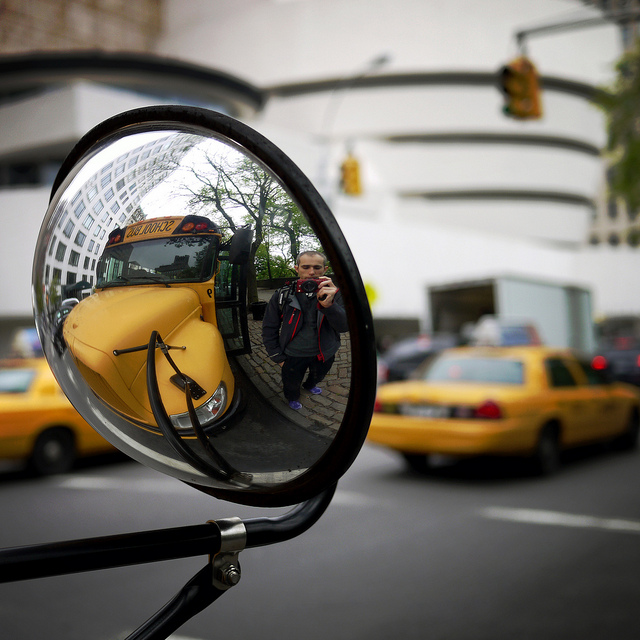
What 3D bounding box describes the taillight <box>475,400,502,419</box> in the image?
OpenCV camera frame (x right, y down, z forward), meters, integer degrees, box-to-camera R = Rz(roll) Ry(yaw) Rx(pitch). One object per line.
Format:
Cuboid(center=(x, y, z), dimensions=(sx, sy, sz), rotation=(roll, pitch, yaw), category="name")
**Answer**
Cuboid(center=(0.351, 0.186, 1.155), dimensions=(0.070, 0.045, 0.023), rotation=(2, 5, 38), category="taillight")
